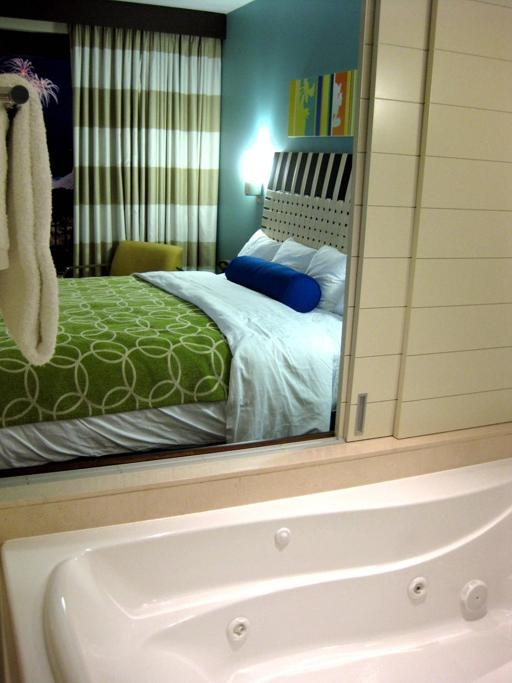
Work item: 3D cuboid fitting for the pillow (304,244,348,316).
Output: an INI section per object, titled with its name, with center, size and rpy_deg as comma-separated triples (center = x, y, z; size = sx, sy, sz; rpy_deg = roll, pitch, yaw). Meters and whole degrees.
[pillow]
center = 0.375, -0.322, 2.672
size = 0.095, 0.306, 0.329
rpy_deg = 17, 6, -30
